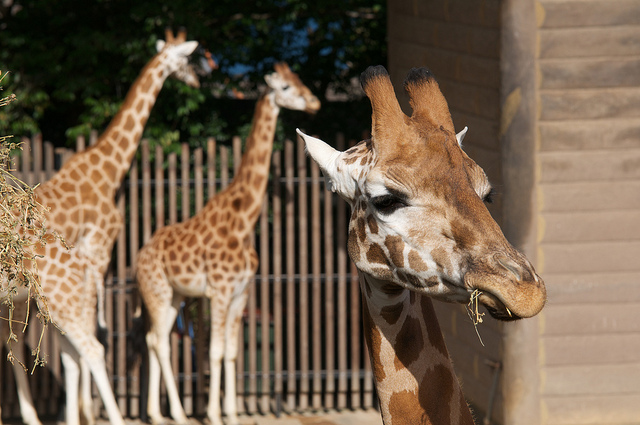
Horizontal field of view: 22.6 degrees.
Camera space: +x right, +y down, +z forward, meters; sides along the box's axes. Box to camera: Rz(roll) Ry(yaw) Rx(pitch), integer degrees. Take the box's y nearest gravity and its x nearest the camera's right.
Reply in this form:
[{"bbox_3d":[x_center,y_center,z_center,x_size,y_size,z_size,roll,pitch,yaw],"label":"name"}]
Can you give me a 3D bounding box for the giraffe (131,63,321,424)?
[{"bbox_3d":[-1.031,0.370,16.508,1.745,3.706,0.602,-2,3,-5],"label":"giraffe"}]
